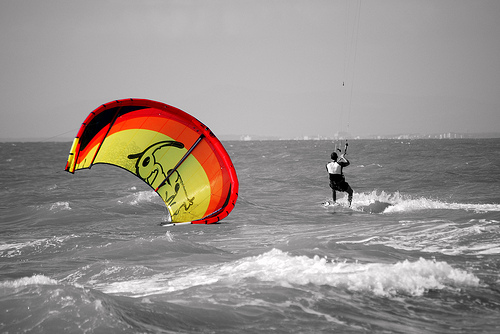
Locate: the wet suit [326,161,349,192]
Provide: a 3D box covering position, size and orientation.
[{"bbox_3d":[3.224,0.311,17.274,0.752,1.117,0.554,1,7,18],"label":"wet suit"}]

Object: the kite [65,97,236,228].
[{"bbox_3d":[-2.336,-0.034,12.418,3.835,3.450,1.250,-5,7,-28],"label":"kite"}]
